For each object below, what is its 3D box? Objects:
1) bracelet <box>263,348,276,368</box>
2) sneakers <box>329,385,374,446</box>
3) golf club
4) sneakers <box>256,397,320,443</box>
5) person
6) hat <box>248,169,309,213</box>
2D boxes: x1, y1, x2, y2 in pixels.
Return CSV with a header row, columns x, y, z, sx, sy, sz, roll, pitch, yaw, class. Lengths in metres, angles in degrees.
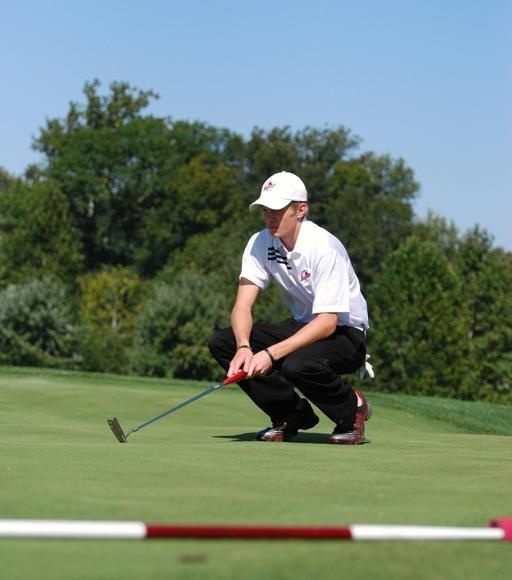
x,y,z,sx,sy,sz,roll,pitch,yaw,class
0.062,0.319,5.799,0.018,0.063,0.066,-25,-1,-7,bracelet
0.453,0.605,5.932,0.115,0.348,0.147,1,-33,16,sneakers
-0.476,0.671,7.327,0.825,0.198,0.124,-28,29,-17,golf club
0.134,0.616,5.924,0.194,0.205,0.400,3,-4,32,sneakers
0.158,0.102,6.097,0.791,1.285,0.799,-2,5,7,person
0.120,-0.466,5.996,0.163,0.139,0.241,3,7,42,hat
